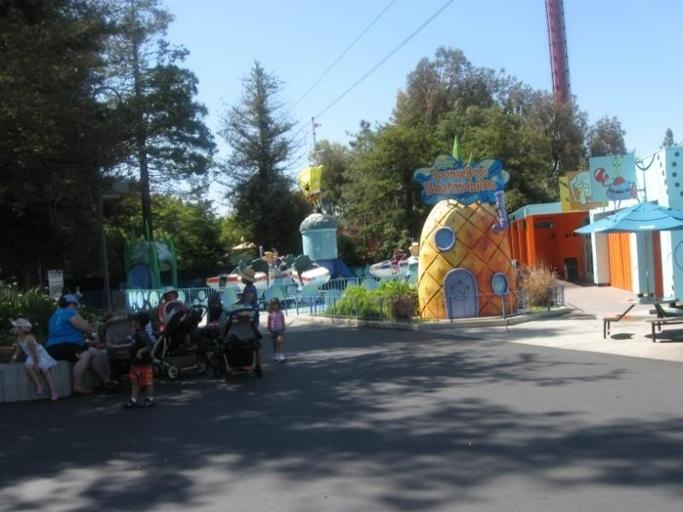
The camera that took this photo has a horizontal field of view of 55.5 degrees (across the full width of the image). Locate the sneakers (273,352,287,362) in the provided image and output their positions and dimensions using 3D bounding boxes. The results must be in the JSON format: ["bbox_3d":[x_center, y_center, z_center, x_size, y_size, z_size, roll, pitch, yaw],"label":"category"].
[{"bbox_3d":[-1.351,2.273,14.549,0.135,0.209,0.439,1,-10,-16],"label":"sneakers"}]

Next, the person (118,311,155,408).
[{"bbox_3d":[-3.661,1.891,11.705,0.478,1.527,1.513,-4,5,-17],"label":"person"}]

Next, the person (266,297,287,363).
[{"bbox_3d":[-1.474,1.624,14.866,0.341,1.527,1.409,-3,5,-7],"label":"person"}]

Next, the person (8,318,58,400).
[{"bbox_3d":[-5.656,1.902,11.991,0.673,1.557,0.443,-5,6,-27],"label":"person"}]

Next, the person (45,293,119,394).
[{"bbox_3d":[-5.259,1.677,12.918,1.090,1.859,1.309,-4,5,-22],"label":"person"}]

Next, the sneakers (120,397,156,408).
[{"bbox_3d":[-3.482,2.522,11.149,0.487,0.163,0.211,5,-9,-6],"label":"sneakers"}]

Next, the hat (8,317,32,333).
[{"bbox_3d":[-5.878,1.290,11.916,0.283,0.302,0.391,-5,6,-24],"label":"hat"}]

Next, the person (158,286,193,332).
[{"bbox_3d":[-3.324,1.029,12.909,0.530,0.787,0.797,1,-14,-25],"label":"person"}]

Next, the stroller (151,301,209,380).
[{"bbox_3d":[-3.288,1.686,13.411,1.190,1.906,1.314,-2,3,-39],"label":"stroller"}]

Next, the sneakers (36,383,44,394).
[{"bbox_3d":[-5.621,2.471,12.098,0.152,0.201,0.417,1,-6,-34],"label":"sneakers"}]
